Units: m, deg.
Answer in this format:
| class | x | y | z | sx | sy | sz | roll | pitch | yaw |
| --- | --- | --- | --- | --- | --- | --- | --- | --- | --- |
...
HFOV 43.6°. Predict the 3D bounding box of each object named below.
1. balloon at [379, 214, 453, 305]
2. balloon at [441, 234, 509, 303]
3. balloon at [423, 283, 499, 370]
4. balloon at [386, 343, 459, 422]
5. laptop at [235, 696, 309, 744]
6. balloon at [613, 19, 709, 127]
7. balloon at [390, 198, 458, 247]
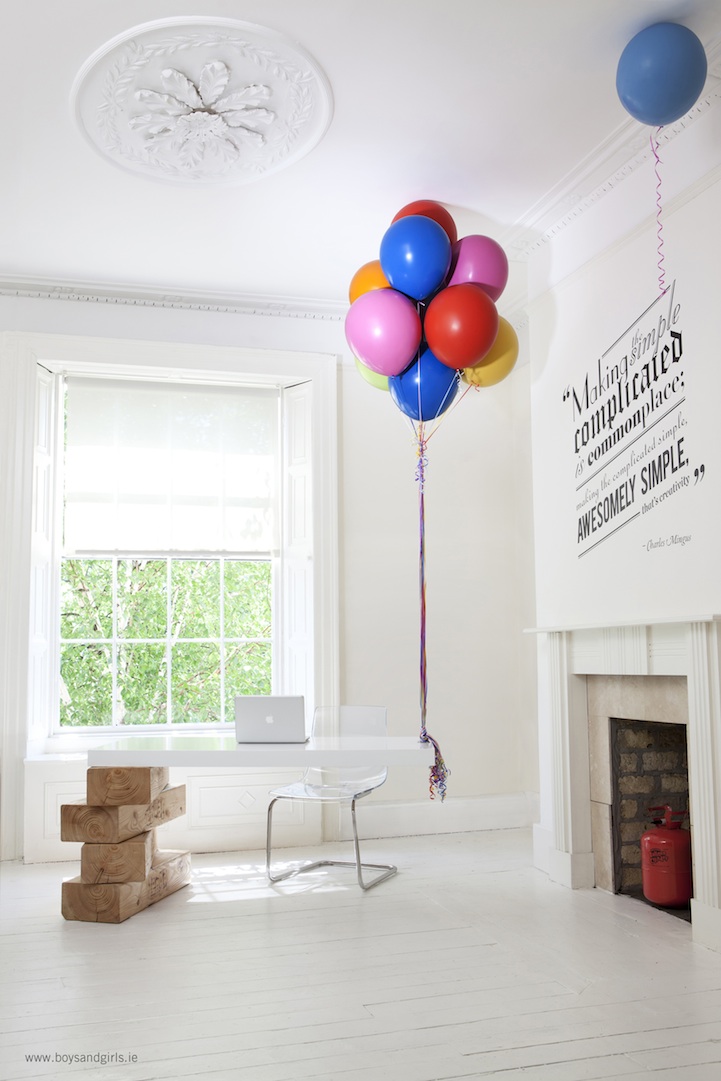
| class | x | y | z | sx | sy | sz | roll | pitch | yaw |
| --- | --- | --- | --- | --- | --- | --- | --- | --- | --- |
| balloon | 0.183 | -0.900 | 3.002 | 0.236 | 0.366 | 0.252 | -5 | 0 | 15 |
| balloon | 0.380 | -0.892 | 3.013 | 0.205 | 0.243 | 0.204 | 1 | 8 | -13 |
| balloon | 0.319 | -0.691 | 2.868 | 0.239 | 0.302 | 0.250 | 1 | -4 | 11 |
| balloon | 0.231 | -0.566 | 3.245 | 0.281 | 0.317 | 0.277 | 10 | 10 | 6 |
| laptop | -0.335 | 0.649 | 3.377 | 0.252 | 0.176 | 0.177 | 1 | -1 | 1 |
| balloon | 0.859 | -1.335 | 2.573 | 0.257 | 0.297 | 0.256 | 6 | 12 | -1 |
| balloon | 0.226 | -1.120 | 3.092 | 0.183 | 0.201 | 0.122 | -3 | 19 | 14 |
